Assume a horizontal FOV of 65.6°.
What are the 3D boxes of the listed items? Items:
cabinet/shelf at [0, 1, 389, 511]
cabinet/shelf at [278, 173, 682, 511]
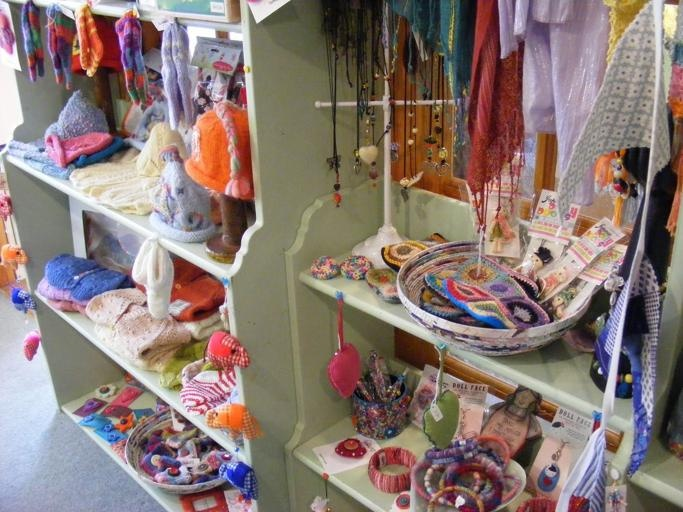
[{"bbox_3d":[-0.473,-0.010,1.704,0.556,1.558,1.268,-19,30,-32],"label":"cabinet/shelf"},{"bbox_3d":[0.312,0.187,1.247,0.292,0.819,0.662,-21,34,-39],"label":"cabinet/shelf"}]
